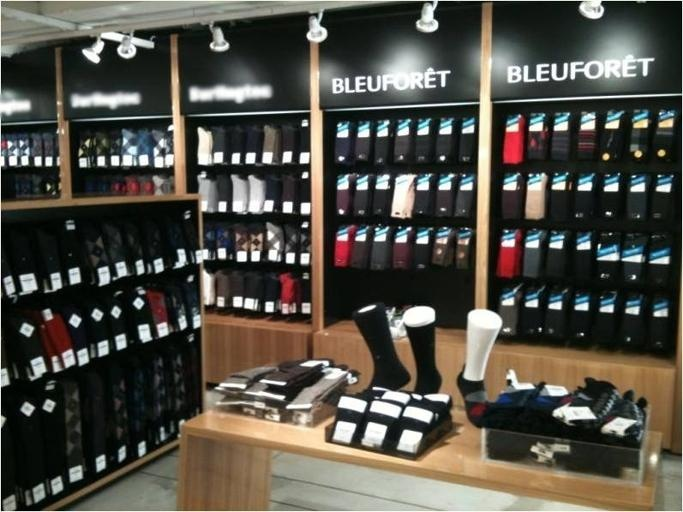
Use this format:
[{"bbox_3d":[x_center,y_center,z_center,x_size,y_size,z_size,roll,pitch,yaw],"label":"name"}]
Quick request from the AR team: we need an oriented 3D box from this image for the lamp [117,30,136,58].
[{"bbox_3d":[-1.932,-1.915,5.155,0.120,0.243,0.315,-3,8,-20],"label":"lamp"}]

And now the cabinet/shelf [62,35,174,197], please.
[{"bbox_3d":[-2.274,-1.414,5.944,1.533,1.502,0.553,3,8,27],"label":"cabinet/shelf"}]

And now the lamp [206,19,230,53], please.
[{"bbox_3d":[-1.069,-1.934,5.039,0.174,0.301,0.572,-2,7,-12],"label":"lamp"}]

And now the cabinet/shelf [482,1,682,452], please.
[{"bbox_3d":[1.917,-0.306,4.548,1.460,3.341,0.557,3,8,28],"label":"cabinet/shelf"}]
